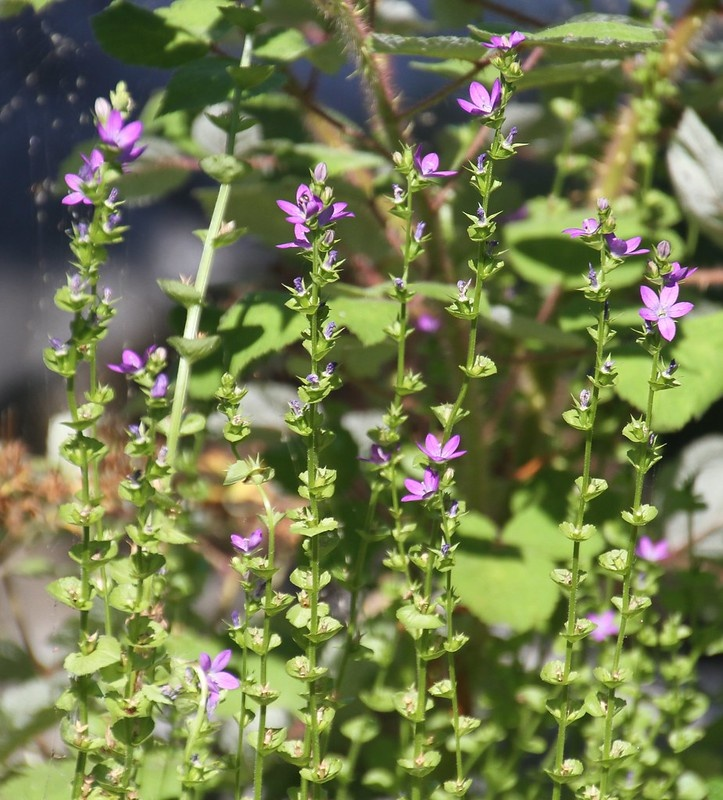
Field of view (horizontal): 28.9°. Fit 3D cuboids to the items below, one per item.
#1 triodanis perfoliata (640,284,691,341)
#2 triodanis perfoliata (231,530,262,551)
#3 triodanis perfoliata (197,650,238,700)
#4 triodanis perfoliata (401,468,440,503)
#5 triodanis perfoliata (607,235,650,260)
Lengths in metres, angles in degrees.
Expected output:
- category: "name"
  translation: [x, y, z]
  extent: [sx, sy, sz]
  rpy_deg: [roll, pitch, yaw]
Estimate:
- category: "triodanis perfoliata"
  translation: [0.199, -0.061, 0.934]
  extent: [0.033, 0.032, 0.010]
  rpy_deg: [-34, 26, 41]
- category: "triodanis perfoliata"
  translation: [-0.080, 0.097, 0.979]
  extent: [0.021, 0.011, 0.017]
  rpy_deg: [3, 7, 41]
- category: "triodanis perfoliata"
  translation: [-0.094, 0.195, 1.003]
  extent: [0.015, 0.037, 0.029]
  rpy_deg: [-18, 47, 49]
- category: "triodanis perfoliata"
  translation: [0.043, 0.060, 0.990]
  extent: [0.026, 0.012, 0.023]
  rpy_deg: [-21, 29, 23]
- category: "triodanis perfoliata"
  translation: [0.187, -0.103, 0.962]
  extent: [0.031, 0.013, 0.030]
  rpy_deg: [10, -1, 7]
